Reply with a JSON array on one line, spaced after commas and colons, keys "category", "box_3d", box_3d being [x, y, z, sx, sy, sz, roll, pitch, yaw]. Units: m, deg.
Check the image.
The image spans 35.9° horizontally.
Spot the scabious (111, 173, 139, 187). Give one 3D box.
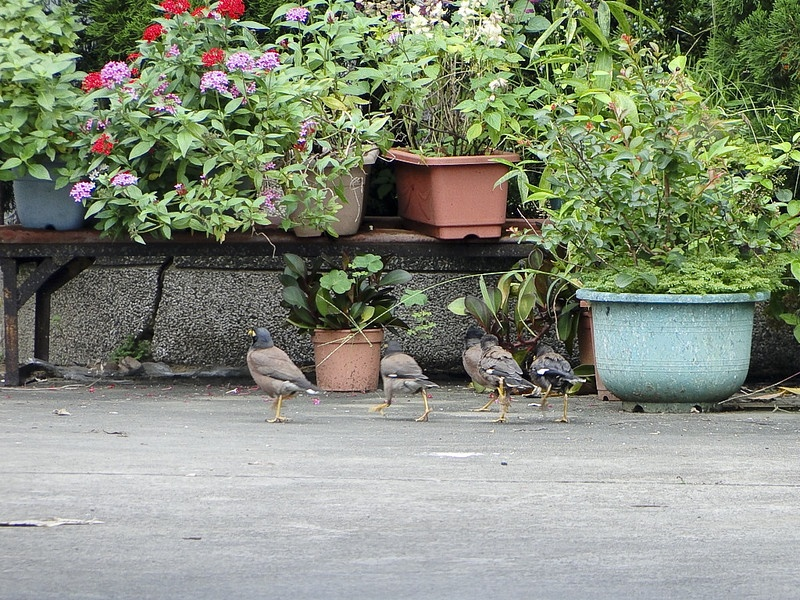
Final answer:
[{"category": "scabious", "box_3d": [-1.689, -0.745, 7.632, 0.129, 0.042, 0.107, -1, 4, 7]}]

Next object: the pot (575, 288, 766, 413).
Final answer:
[{"category": "pot", "box_3d": [1.521, 0.297, 7.265, 1.037, 0.449, 0.851, 0, -3, -5]}]

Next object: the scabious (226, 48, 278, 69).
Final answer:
[{"category": "scabious", "box_3d": [-0.928, -1.508, 7.648, 0.244, 0.083, 0.161, -8, 15, -27]}]

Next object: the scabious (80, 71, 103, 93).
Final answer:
[{"category": "scabious", "box_3d": [-1.921, -1.395, 7.799, 0.151, 0.082, 0.166, 1, -11, -32]}]

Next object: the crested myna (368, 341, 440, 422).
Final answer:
[{"category": "crested myna", "box_3d": [0.031, 0.411, 7.084, 0.373, 0.367, 0.651, 4, -2, -26]}]

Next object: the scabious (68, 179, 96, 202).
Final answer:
[{"category": "scabious", "box_3d": [-1.992, -0.703, 7.798, 0.157, 0.106, 0.149, -1, 30, 49]}]

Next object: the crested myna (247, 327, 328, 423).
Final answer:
[{"category": "crested myna", "box_3d": [-0.649, 0.411, 7.049, 0.553, 0.482, 0.263, 3, 5, 40]}]

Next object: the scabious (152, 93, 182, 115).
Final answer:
[{"category": "scabious", "box_3d": [-1.447, -1.224, 7.670, 0.170, 0.131, 0.215, -3, 10, -9]}]

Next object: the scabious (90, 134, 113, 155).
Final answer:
[{"category": "scabious", "box_3d": [-1.844, -0.968, 7.698, 0.135, 0.068, 0.141, -19, 5, 3]}]

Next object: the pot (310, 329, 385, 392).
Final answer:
[{"category": "pot", "box_3d": [-0.392, 0.373, 8.335, 0.553, 0.390, 0.528, -2, 9, 0]}]

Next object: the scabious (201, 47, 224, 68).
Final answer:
[{"category": "scabious", "box_3d": [-1.155, -1.507, 7.636, 0.137, 0.073, 0.124, -8, 16, 10]}]
